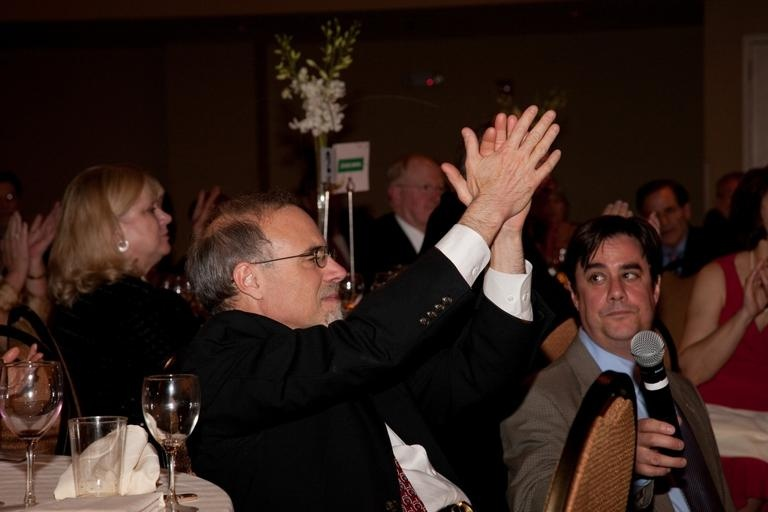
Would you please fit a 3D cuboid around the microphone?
[{"bbox_3d":[0.905,0.420,2.245,0.168,0.342,0.078,3,9,12],"label":"microphone"}]
